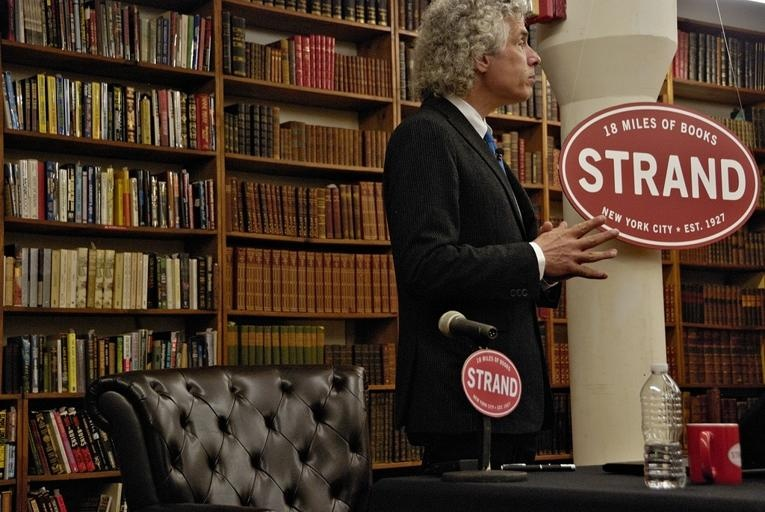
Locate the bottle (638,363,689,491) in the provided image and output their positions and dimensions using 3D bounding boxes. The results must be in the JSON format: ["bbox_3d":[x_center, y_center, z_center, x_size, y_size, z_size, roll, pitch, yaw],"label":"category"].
[{"bbox_3d":[0.776,0.465,2.782,0.114,0.333,0.321,-4,-9,15],"label":"bottle"}]

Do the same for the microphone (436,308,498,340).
[{"bbox_3d":[0.245,0.201,2.903,0.074,0.091,0.163,5,-11,-38],"label":"microphone"}]

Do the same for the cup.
[{"bbox_3d":[0.910,0.538,2.728,0.167,0.159,0.113,-2,-8,0],"label":"cup"}]
